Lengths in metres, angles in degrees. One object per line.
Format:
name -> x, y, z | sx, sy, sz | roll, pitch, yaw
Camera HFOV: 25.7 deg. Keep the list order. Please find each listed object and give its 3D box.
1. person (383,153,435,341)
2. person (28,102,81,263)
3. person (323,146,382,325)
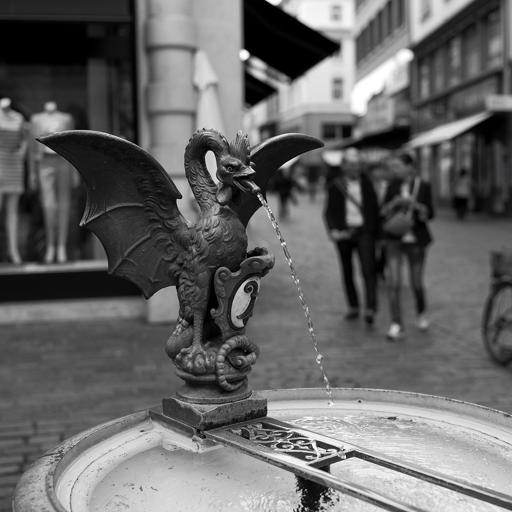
person -> 1.294, -0.069, 9.395 | 0.446, 1.568, 0.846 | -2, 8, 0
person -> -2.176, -0.818, 12.083 | 0.456, 1.725, 0.805 | -4, 8, -11
person -> 0.889, -0.186, 10.340 | 0.380, 1.648, 0.671 | -5, 8, -19
